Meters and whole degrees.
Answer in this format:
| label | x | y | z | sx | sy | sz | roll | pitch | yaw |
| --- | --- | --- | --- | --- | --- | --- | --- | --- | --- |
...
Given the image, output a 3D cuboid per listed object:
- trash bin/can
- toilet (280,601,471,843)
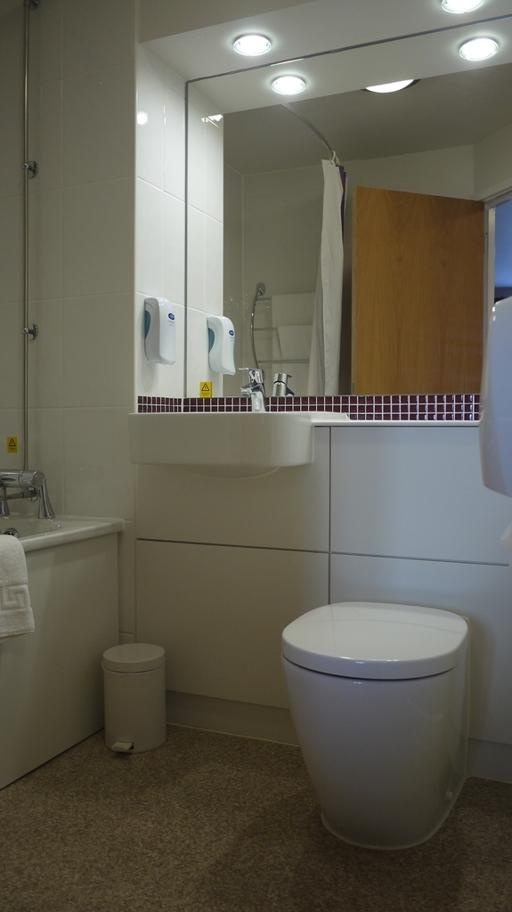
| label | x | y | z | sx | sy | sz | roll | pitch | yaw |
| --- | --- | --- | --- | --- | --- | --- | --- | --- | --- |
| trash bin/can | -0.306 | 0.563 | 1.598 | 0.124 | 0.340 | 0.242 | -1 | 0 | 15 |
| toilet | 0.230 | 0.407 | 1.147 | 0.263 | 0.467 | 0.413 | 4 | 26 | 28 |
